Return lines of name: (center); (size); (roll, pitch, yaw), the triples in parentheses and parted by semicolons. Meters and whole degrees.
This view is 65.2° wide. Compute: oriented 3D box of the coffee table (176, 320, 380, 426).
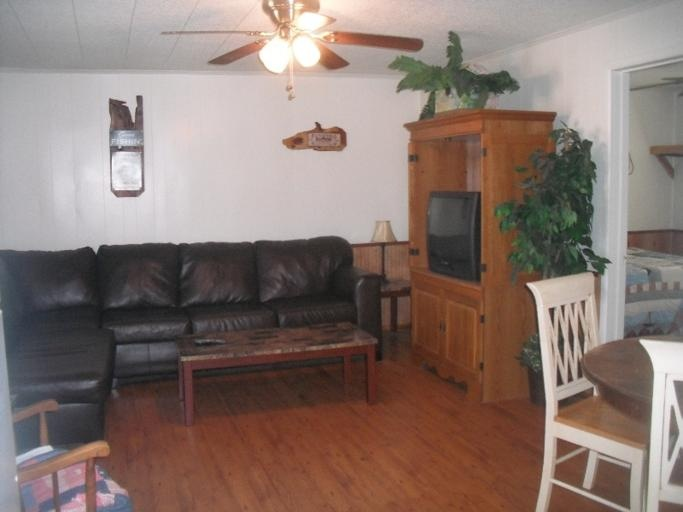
coffee table: (-0.499, 0.873, 4.197); (1.531, 0.560, 0.584); (-4, 12, -16)

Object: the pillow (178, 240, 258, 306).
pillow: (-1.179, 0.180, 5.246); (0.779, 0.237, 0.830); (5, 52, -4)

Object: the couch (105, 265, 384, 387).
couch: (-1.073, 0.538, 5.091); (2.724, 1.054, 0.966); (-2, 7, -26)

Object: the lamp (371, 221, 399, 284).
lamp: (0.462, -0.081, 5.864); (0.247, 0.646, 0.506); (0, 11, 7)

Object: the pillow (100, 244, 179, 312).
pillow: (-1.863, 0.177, 4.927); (0.622, 0.612, 0.231); (1, -21, -12)

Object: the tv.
tv: (0.937, -0.154, 4.423); (0.433, 0.768, 0.768); (0, 2, -14)
